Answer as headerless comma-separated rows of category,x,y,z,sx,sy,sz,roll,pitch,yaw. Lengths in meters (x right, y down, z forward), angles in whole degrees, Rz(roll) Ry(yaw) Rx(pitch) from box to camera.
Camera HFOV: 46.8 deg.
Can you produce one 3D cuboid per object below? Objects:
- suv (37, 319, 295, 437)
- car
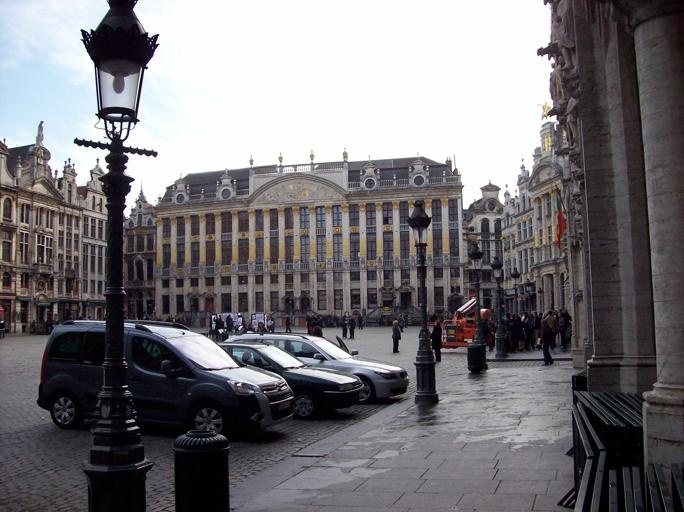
suv,-3.480,2.354,15.250,4.279,1.854,2.468,-4,-9,16
car,-0.638,2.792,19.236,4.180,1.423,1.837,-3,-6,17
